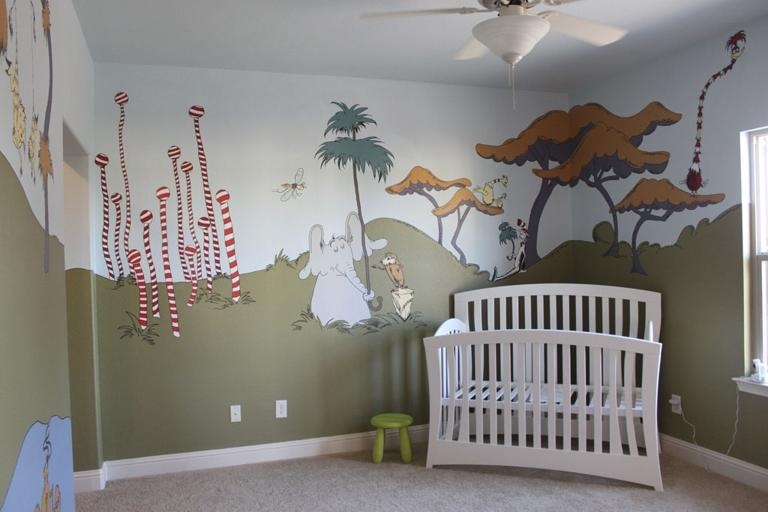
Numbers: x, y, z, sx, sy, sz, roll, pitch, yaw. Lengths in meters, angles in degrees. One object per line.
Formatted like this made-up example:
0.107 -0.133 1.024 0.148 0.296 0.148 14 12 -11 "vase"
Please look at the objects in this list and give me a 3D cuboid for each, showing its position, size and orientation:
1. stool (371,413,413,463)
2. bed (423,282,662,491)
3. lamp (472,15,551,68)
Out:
0.060 1.451 5.147 0.312 0.313 0.342 1 -9 -7 "stool"
1.238 1.038 5.256 2.294 1.931 1.292 0 -8 10 "bed"
0.734 -1.293 3.779 0.315 0.149 0.326 7 -25 -12 "lamp"
